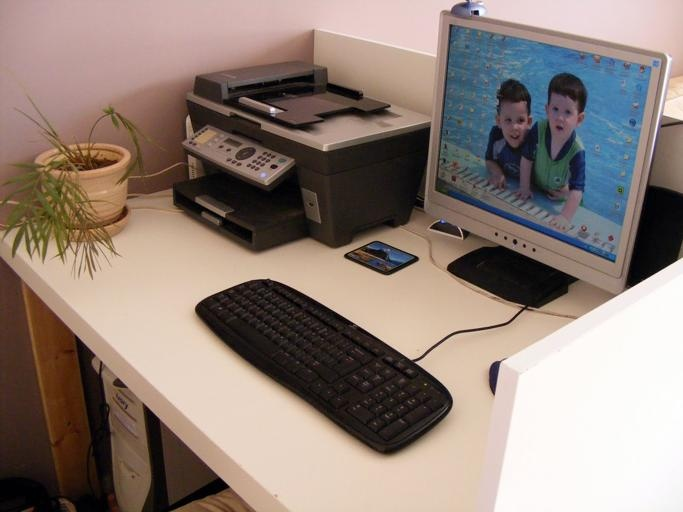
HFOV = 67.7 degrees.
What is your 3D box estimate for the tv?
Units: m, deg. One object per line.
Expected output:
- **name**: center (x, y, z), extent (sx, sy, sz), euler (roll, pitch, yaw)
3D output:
- **tv**: center (0.406, -0.174, 1.036), extent (0.193, 0.530, 0.512), euler (-32, 51, -30)
